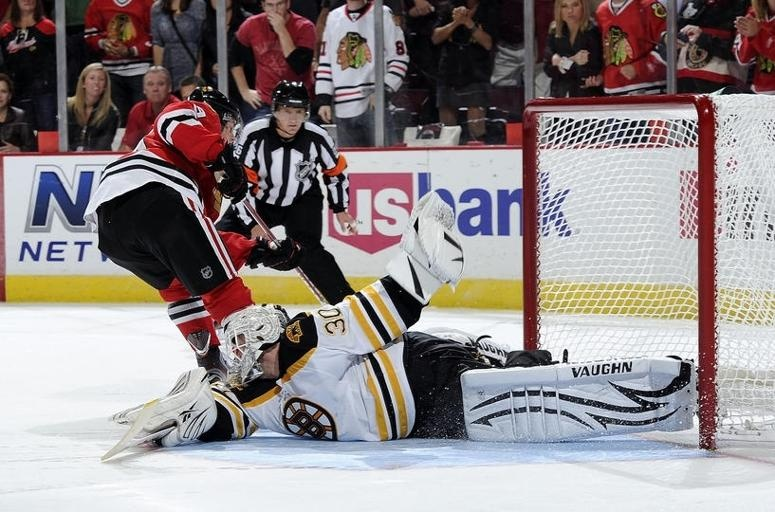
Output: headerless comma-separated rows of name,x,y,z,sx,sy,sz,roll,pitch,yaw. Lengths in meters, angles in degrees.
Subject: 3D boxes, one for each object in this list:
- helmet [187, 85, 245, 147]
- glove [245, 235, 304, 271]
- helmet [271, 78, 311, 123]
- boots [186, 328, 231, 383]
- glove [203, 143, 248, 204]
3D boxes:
helmet,-0.951,-0.806,6.486,0.352,0.322,0.292,9,20,-26
glove,-0.636,0.015,6.287,0.238,0.102,0.182,10,34,-25
helmet,-0.624,-1.000,7.250,0.209,0.194,0.223,0,26,-14
boots,-0.934,0.516,5.966,0.101,0.290,0.137,-25,-19,-9
glove,-0.821,-0.446,6.155,0.211,0.312,0.128,-31,0,31
